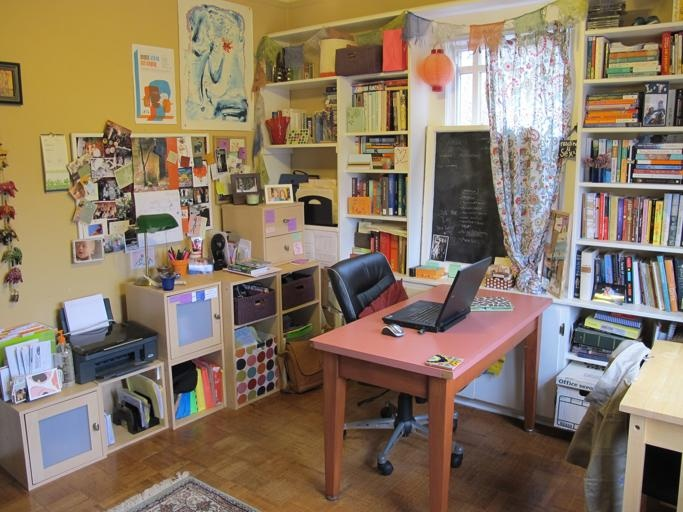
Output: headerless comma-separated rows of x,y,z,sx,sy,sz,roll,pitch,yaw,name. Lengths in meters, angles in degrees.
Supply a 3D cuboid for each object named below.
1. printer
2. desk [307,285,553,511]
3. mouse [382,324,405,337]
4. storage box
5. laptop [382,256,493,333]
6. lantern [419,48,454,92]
-1.585,0.576,3.539,0.538,0.416,0.545,13,20,36,printer
0.526,0.230,3.161,0.965,1.264,1.964,8,15,33,desk
0.295,0.414,2.978,0.094,0.037,0.059,4,9,39,mouse
1.616,0.986,3.639,0.258,0.436,0.312,6,15,32,storage box
0.568,0.248,3.152,0.459,0.394,0.516,7,15,30,laptop
0.728,-1.410,4.062,0.276,0.315,0.289,2,13,14,lantern
